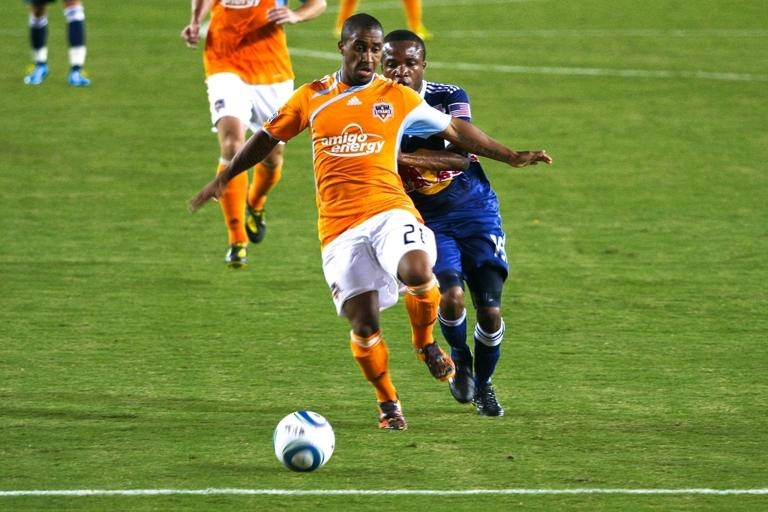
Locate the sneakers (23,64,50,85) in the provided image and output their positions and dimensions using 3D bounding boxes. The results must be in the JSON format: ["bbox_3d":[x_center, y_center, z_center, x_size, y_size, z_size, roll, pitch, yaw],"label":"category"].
[{"bbox_3d":[-3.359,-1.742,14.805,0.254,0.166,0.454,5,20,-4],"label":"sneakers"}]

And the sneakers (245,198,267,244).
[{"bbox_3d":[-1.111,-0.265,13.397,0.160,0.318,0.161,-9,8,-22],"label":"sneakers"}]

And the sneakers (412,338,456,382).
[{"bbox_3d":[0.379,0.689,10.866,0.227,0.157,0.394,-35,43,-8],"label":"sneakers"}]

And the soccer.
[{"bbox_3d":[-0.537,1.238,10.460,0.415,0.365,0.251,1,17,-2],"label":"soccer"}]

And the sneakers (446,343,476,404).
[{"bbox_3d":[0.553,0.852,11.176,0.184,0.409,0.188,-8,-32,9],"label":"sneakers"}]

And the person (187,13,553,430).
[{"bbox_3d":[-0.231,-0.262,10.959,1.580,2.789,1.119,3,18,4],"label":"person"}]
